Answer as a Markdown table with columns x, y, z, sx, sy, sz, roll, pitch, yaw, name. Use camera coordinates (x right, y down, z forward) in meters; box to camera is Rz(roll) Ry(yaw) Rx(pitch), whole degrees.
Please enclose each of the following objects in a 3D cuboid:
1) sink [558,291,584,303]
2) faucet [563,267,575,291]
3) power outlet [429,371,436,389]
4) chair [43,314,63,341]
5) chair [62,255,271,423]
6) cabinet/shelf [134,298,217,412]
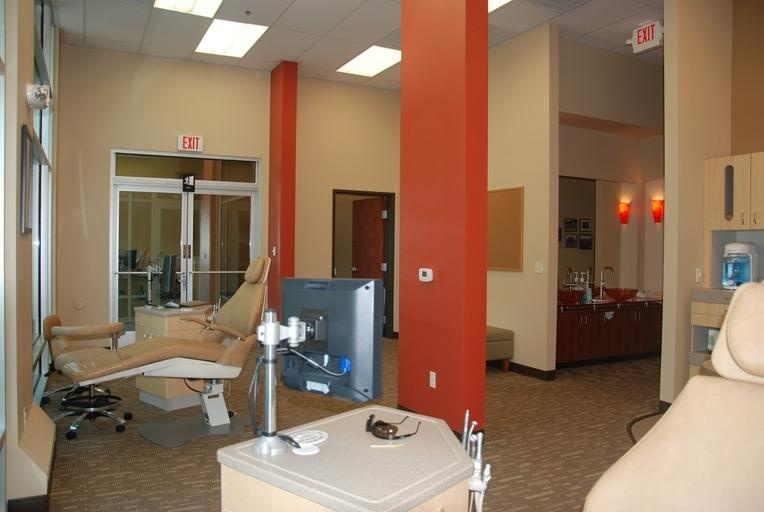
| x | y | z | sx | sy | sz | roll | pitch | yaw | name |
| --- | --- | --- | --- | --- | --- | --- | --- | --- | --- |
| 2.627 | 0.575 | 7.851 | 0.211 | 0.090 | 0.211 | 0 | 2 | -18 | sink |
| 2.908 | 0.335 | 8.642 | 0.180 | 0.312 | 0.478 | 1 | 4 | 20 | faucet |
| 0.502 | 1.225 | 5.507 | 0.102 | 0.171 | 0.011 | 3 | 5 | 44 | power outlet |
| -3.518 | 0.765 | 5.939 | 0.158 | 0.252 | 0.233 | -3 | 4 | -32 | chair |
| -2.032 | 0.766 | 6.198 | 2.448 | 2.235 | 1.400 | 2 | 0 | -33 | chair |
| -2.321 | 1.094 | 6.595 | 1.060 | 1.502 | 1.065 | 0 | 0 | -33 | cabinet/shelf |
